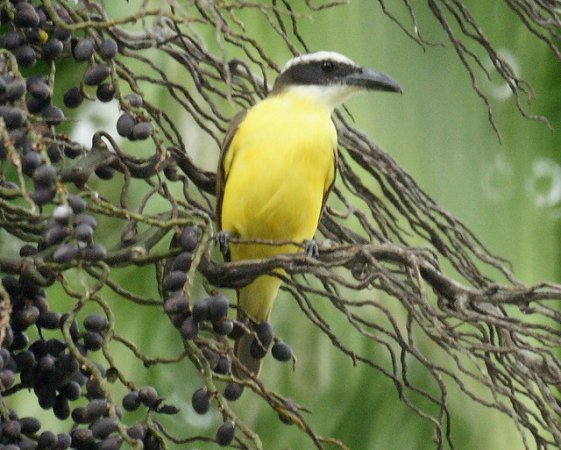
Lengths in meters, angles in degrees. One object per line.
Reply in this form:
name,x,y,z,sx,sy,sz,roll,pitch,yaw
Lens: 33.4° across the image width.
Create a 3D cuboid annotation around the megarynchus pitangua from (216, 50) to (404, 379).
megarynchus pitangua,0.023,-0.216,3.471,0.428,0.607,1.486,10,-57,-17
